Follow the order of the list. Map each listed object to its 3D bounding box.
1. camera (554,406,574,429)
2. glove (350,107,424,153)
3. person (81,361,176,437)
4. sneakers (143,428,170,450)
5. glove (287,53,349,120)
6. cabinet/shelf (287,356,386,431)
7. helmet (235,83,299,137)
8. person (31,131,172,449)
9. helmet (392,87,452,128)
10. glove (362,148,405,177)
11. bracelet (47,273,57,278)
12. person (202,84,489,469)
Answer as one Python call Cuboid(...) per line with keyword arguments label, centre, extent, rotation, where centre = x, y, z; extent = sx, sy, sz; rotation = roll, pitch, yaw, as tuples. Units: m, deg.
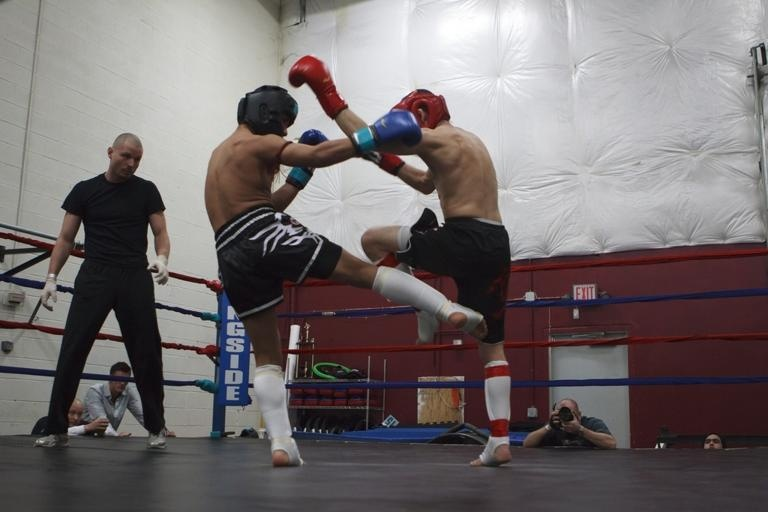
Cuboid(label="camera", centre=(1.287, 1.150, 4.430), extent=(0.121, 0.136, 0.123), rotation=(-3, -12, 16))
Cuboid(label="glove", centre=(-0.005, -0.718, 3.365), extent=(0.332, 0.127, 0.199), rotation=(-36, 8, 38))
Cuboid(label="person", centre=(-2.409, 1.339, 5.647), extent=(0.588, 0.742, 0.882), rotation=(17, -36, -43))
Cuboid(label="sneakers", centre=(-1.503, 1.237, 4.197), extent=(0.119, 0.122, 0.290), rotation=(2, -12, -4))
Cuboid(label="glove", centre=(-0.381, -1.045, 3.689), extent=(0.230, 0.131, 0.388), rotation=(9, -1, 12))
Cuboid(label="cabinet/shelf", centre=(-0.608, 1.904, 8.378), extent=(1.171, 1.019, 0.683), rotation=(-2, -12, 17))
Cuboid(label="helmet", centre=(-0.692, -0.799, 3.604), extent=(0.281, 0.249, 0.211), rotation=(11, -10, 9))
Cuboid(label="person", centre=(-1.763, 0.199, 4.064), extent=(0.826, 2.055, 0.476), rotation=(5, -13, -21))
Cuboid(label="helmet", centre=(0.206, -0.884, 3.759), extent=(0.310, 0.246, 0.241), rotation=(-21, 22, -14))
Cuboid(label="glove", centre=(0.009, -0.571, 3.812), extent=(0.191, 0.074, 0.144), rotation=(21, 17, 14))
Cuboid(label="bracelet", centre=(-2.144, 0.132, 4.031), extent=(0.033, 0.021, 0.041), rotation=(-1, -15, -13))
Cuboid(label="person", centre=(-0.378, 0.062, 3.374), extent=(1.184, 2.106, 0.482), rotation=(-3, -13, 17))
